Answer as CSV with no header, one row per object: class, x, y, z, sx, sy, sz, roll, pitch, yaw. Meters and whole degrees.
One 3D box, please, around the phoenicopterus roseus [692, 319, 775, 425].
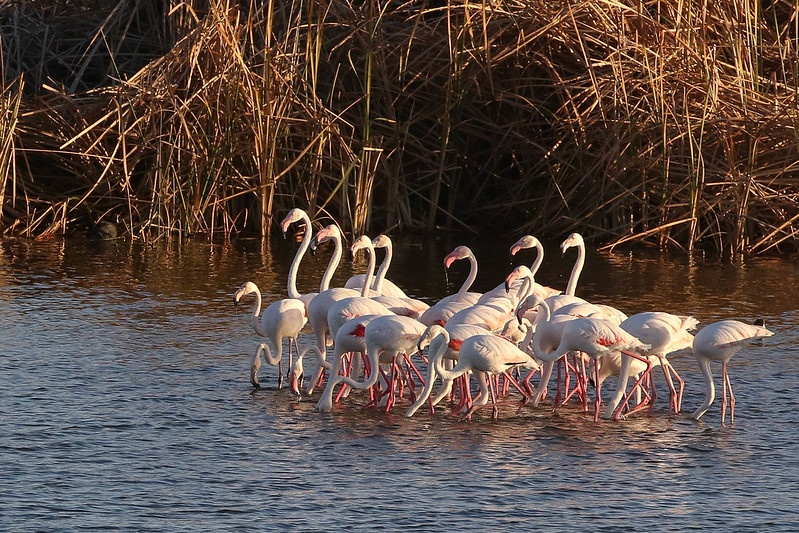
phoenicopterus roseus,3.175,0.958,11.597,0.627,0.947,0.795,8,14,28
